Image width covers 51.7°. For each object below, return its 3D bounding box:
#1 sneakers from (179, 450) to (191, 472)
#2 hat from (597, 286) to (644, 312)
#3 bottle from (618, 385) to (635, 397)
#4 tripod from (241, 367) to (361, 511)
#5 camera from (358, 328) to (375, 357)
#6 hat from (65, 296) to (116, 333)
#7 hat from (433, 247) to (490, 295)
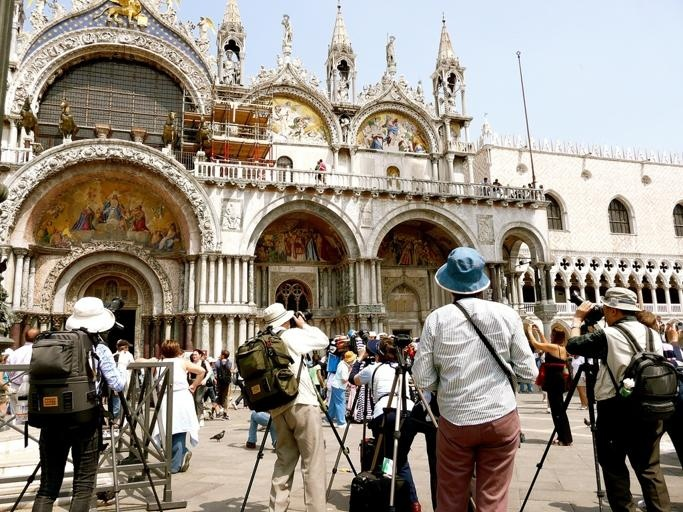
[{"bbox_3d":[-2.555,3.371,11.637,0.136,0.322,0.106,-1,-17,27],"label":"sneakers"},{"bbox_3d":[3.536,0.490,8.779,0.360,0.184,0.343,19,-8,-6],"label":"hat"},{"bbox_3d":[3.399,1.612,8.368,0.132,0.122,0.106,33,-31,-25],"label":"bottle"},{"bbox_3d":[-0.698,2.570,10.437,1.610,2.481,1.692,0,-8,-21],"label":"tripod"},{"bbox_3d":[0.490,1.547,12.598,0.194,0.263,0.659,0,-19,-8],"label":"camera"},{"bbox_3d":[-3.099,0.747,8.696,0.510,0.432,0.188,12,-35,13],"label":"hat"},{"bbox_3d":[1.506,0.178,8.027,0.687,0.383,0.757,-1,5,-5],"label":"hat"}]
